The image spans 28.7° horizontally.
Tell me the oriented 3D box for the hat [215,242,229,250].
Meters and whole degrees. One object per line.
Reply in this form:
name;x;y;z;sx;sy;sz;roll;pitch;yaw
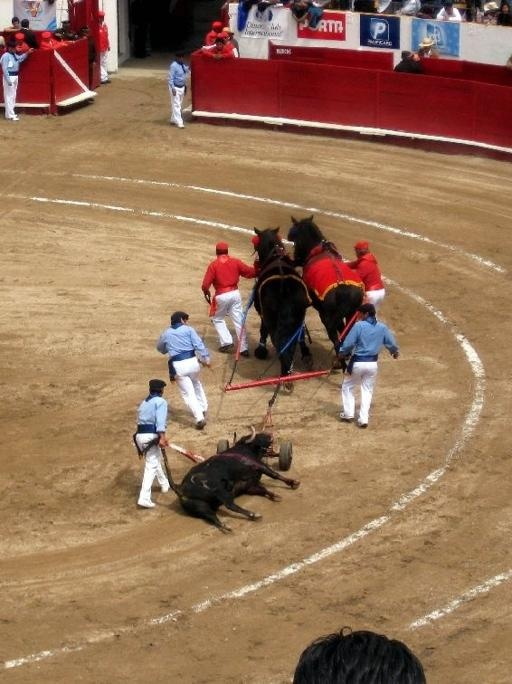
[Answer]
hat;-0.495;-1.384;14.395;0.192;0.089;0.262;-2;14;-7

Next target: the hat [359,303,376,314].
hat;1.383;-0.404;12.394;0.188;0.167;0.267;2;8;3

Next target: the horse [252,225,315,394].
horse;0.289;-0.755;14.323;0.751;1.576;2.818;4;18;-8

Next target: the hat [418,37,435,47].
hat;4.704;-8.242;27.376;0.434;0.163;0.457;2;21;13

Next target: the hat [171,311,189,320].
hat;-0.933;-0.319;12.347;0.138;0.085;0.176;-2;10;29

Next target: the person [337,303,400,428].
person;1.374;0.288;12.508;0.691;1.573;0.415;2;10;4

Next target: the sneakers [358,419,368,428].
sneakers;1.348;1.015;12.534;0.117;0.110;0.301;0;-5;3

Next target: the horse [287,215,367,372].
horse;1.280;-0.941;13.977;0.719;1.374;2.339;-18;42;-8

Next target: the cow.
cow;-0.217;1.453;10.672;0.850;0.844;1.161;7;11;33
